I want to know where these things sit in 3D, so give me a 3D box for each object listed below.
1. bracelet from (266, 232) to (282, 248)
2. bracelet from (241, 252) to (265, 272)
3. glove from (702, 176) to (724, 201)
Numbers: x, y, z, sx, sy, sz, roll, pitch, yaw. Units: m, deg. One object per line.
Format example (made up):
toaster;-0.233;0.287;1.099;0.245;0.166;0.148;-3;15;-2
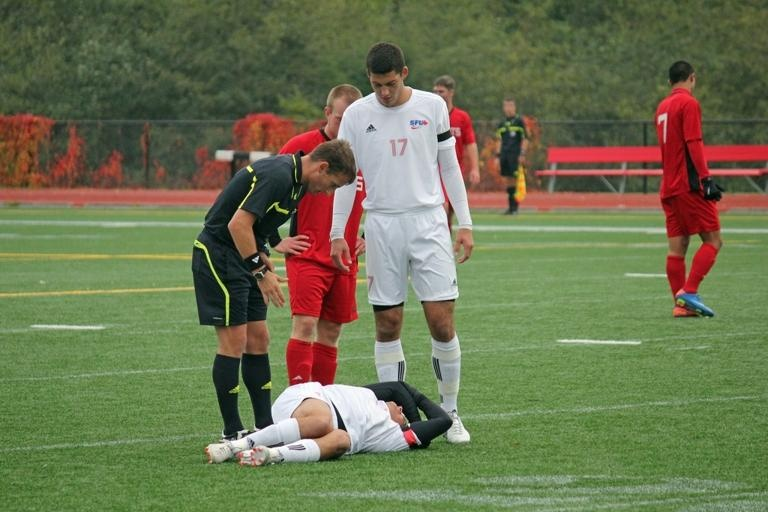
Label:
bracelet;-1.880;-0.287;25.386;0.194;0.256;0.078;-9;37;-19
bracelet;-2.186;0.080;24.851;0.307;0.236;0.295;-34;18;-14
glove;6.253;-1.252;28.575;0.360;0.459;0.205;-35;-16;13
